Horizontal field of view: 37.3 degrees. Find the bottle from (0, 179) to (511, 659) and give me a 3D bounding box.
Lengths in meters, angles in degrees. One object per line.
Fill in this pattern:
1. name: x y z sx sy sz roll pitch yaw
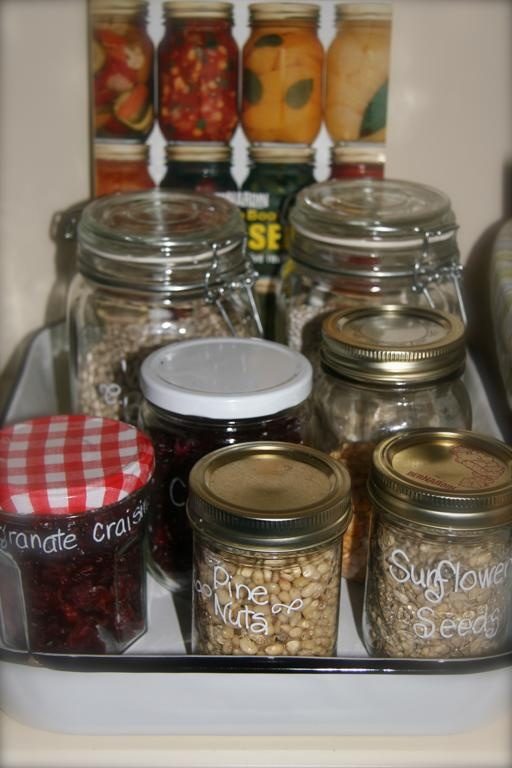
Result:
1. bottle: 0.002 0.007 0.596 0.339 0.319 0.391 -1 15 7
